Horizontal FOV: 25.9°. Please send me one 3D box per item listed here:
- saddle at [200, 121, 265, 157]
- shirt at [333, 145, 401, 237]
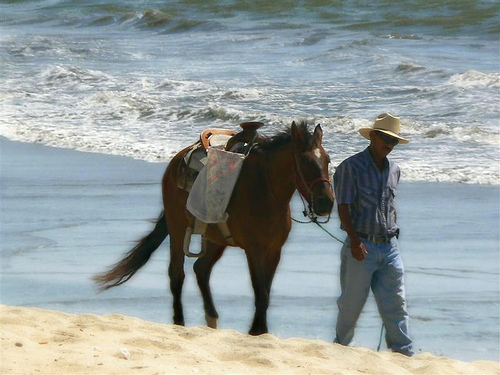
[{"bbox_3d":[-0.494,-1.206,26.608,1.361,0.881,1.098,-7,17,-13],"label":"saddle"},{"bbox_3d":[2.780,0.106,25.808,1.524,2.011,0.676,2,14,3],"label":"shirt"}]
